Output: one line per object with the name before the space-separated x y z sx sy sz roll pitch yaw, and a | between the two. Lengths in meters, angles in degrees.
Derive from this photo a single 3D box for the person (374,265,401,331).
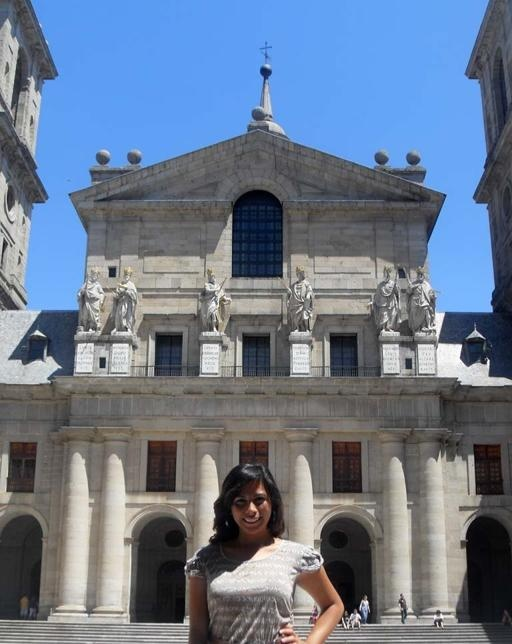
person | 6.652 -1.081 40.602 1.307 3.666 0.914 -3 -24 13

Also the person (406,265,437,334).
person | 8.495 -1.060 40.548 1.179 3.659 0.980 -1 -26 10

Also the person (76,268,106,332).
person | -8.546 -1.089 40.705 1.207 3.462 0.630 4 -21 -10

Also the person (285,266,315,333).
person | 2.255 -1.114 40.318 1.133 3.287 0.817 -2 -16 3
